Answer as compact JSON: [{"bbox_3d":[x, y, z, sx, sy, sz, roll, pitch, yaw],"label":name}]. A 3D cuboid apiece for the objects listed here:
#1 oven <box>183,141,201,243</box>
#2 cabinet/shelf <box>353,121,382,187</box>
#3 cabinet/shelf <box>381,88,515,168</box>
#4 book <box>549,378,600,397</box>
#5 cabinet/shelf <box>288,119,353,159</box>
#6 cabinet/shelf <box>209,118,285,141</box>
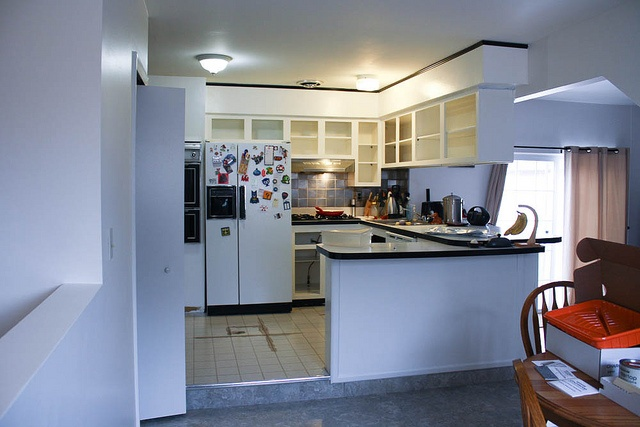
[{"bbox_3d":[-1.536,-0.261,5.565,0.207,1.214,0.203,-1,6,-11],"label":"oven"},{"bbox_3d":[0.694,-0.879,6.657,0.373,0.918,0.414,1,6,3],"label":"cabinet/shelf"},{"bbox_3d":[1.339,-0.925,5.643,0.451,0.745,2.036,-2,2,-28],"label":"cabinet/shelf"},{"bbox_3d":[1.248,0.858,2.240,0.203,0.044,0.115,-1,6,-8],"label":"book"},{"bbox_3d":[0.011,-1.054,6.470,0.909,0.555,0.277,-1,4,-6],"label":"cabinet/shelf"},{"bbox_3d":[-0.995,-1.151,6.223,0.990,0.290,0.274,-1,6,-9],"label":"cabinet/shelf"}]
